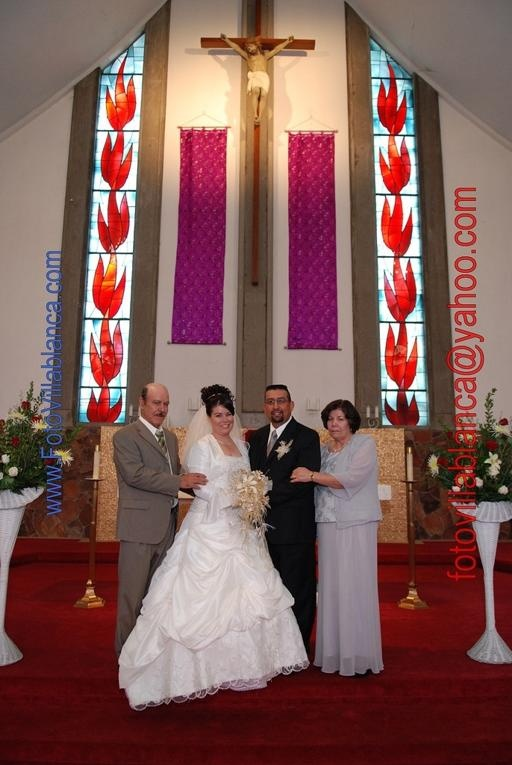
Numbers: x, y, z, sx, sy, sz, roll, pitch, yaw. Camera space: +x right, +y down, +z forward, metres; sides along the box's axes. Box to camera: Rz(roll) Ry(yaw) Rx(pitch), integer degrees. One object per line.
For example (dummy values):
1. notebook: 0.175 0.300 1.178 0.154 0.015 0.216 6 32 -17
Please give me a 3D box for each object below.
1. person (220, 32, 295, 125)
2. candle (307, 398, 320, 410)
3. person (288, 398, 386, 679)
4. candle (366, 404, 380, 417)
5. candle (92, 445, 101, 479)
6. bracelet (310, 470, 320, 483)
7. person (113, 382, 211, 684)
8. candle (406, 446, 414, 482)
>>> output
1. person: 0.000 -3.648 7.835 0.867 1.070 0.396 2 -3 2
2. candle: 0.655 0.242 7.504 0.126 0.116 0.041 1 -12 -3
3. person: 0.426 0.749 3.335 0.458 1.324 0.468 1 -3 10
4. candle: 1.325 0.318 7.469 0.148 0.146 0.013 1 -10 2
5. candle: -1.207 0.609 4.926 0.033 0.269 0.171 3 -3 -17
6. bracelet: 0.287 0.465 3.212 0.042 0.049 0.019 -4 -7 30
7. person: -0.539 0.695 3.352 0.413 1.392 0.674 2 -3 -13
8. candle: 1.128 0.596 4.814 0.046 0.255 0.181 1 -3 13
